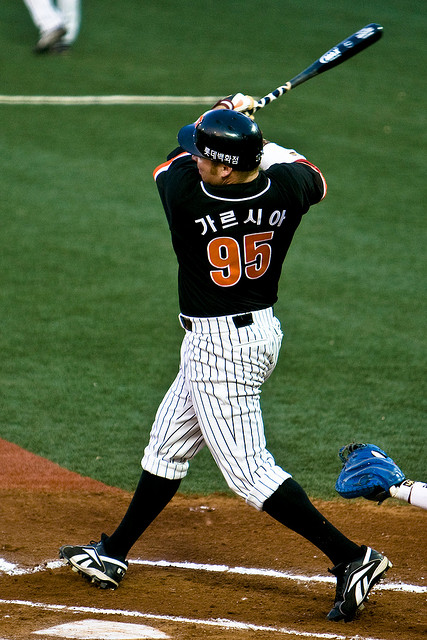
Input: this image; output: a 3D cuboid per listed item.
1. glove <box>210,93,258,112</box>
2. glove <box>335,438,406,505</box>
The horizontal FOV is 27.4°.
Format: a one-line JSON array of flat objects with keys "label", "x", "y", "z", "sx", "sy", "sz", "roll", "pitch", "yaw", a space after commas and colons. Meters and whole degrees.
[{"label": "glove", "x": 0.072, "y": -0.887, "z": 3.597, "sx": 0.152, "sy": 0.047, "sz": 0.140, "roll": -6, "pitch": -10, "yaw": -42}, {"label": "glove", "x": 0.563, "y": 0.602, "z": 3.376, "sx": 0.219, "sy": 0.117, "sz": 0.291, "roll": -22, "pitch": 28, "yaw": -27}]
